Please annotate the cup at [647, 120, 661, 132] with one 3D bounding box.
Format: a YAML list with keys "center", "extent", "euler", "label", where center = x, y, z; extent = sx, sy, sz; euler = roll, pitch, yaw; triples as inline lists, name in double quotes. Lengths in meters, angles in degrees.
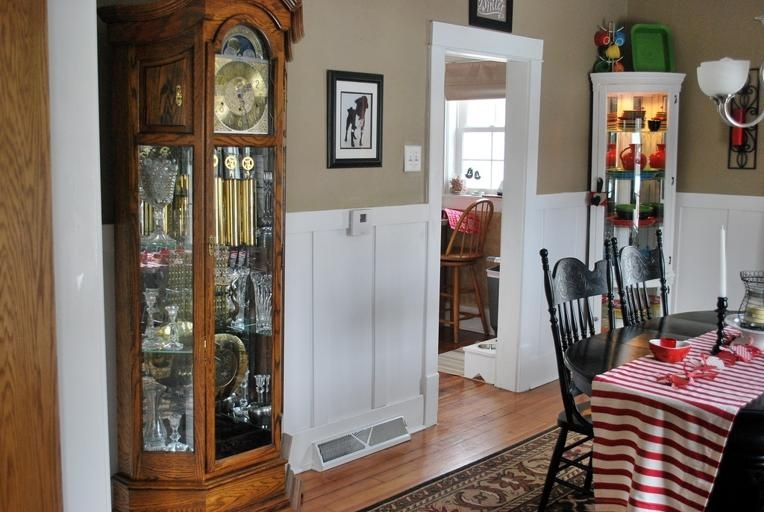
- center: [2.273, -1.082, 5.111]
  extent: [0.092, 0.071, 0.088]
  euler: [-1, 8, 0]
  label: "cup"

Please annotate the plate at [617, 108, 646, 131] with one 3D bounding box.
- center: [2.079, -1.116, 5.083]
  extent: [0.232, 0.169, 0.036]
  euler: [-3, 12, -14]
  label: "plate"

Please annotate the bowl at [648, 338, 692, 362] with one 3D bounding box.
- center: [1.325, 0.421, 2.793]
  extent: [0.134, 0.061, 0.122]
  euler: [2, -2, 0]
  label: "bowl"

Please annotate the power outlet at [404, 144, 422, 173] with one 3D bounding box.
- center: [0.198, -0.625, 3.924]
  extent: [0.024, 0.203, 0.175]
  euler: [6, 9, 42]
  label: "power outlet"

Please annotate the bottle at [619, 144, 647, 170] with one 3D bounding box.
- center: [2.121, -0.825, 5.144]
  extent: [0.256, 0.220, 0.039]
  euler: [-4, 12, -19]
  label: "bottle"

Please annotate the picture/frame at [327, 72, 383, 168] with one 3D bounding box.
- center: [-0.172, -0.815, 3.620]
  extent: [0.543, 0.712, 0.068]
  euler: [-7, 11, -44]
  label: "picture/frame"
